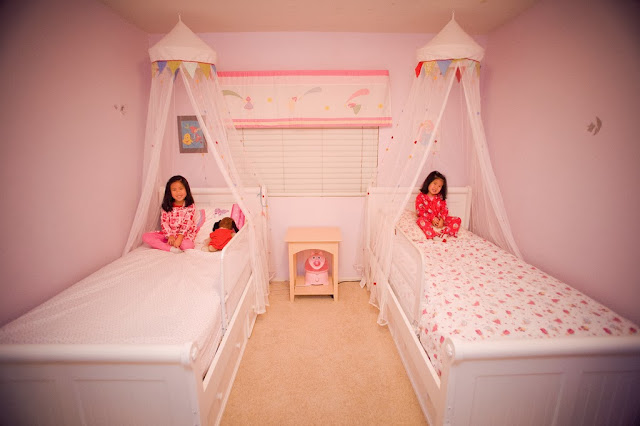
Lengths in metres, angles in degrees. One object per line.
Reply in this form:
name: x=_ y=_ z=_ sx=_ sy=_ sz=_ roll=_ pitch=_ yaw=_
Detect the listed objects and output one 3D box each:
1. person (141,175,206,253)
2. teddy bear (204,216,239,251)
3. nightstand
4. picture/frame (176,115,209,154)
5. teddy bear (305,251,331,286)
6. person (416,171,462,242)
person: x=-1.470 y=0.015 z=4.836 sx=0.723 sy=1.060 sz=0.752 roll=1 pitch=6 yaw=-7
teddy bear: x=-1.033 y=0.236 z=4.560 sx=0.358 sy=0.187 sz=0.532 roll=-2 pitch=33 yaw=22
nightstand: x=-0.095 y=0.608 z=5.113 sx=0.659 sy=0.857 sz=0.587 roll=2 pitch=5 yaw=-3
picture/frame: x=-1.518 y=-0.932 z=4.975 sx=0.346 sy=0.434 sz=0.245 roll=1 pitch=6 yaw=-17
teddy bear: x=-0.027 y=0.690 z=5.216 sx=0.352 sy=0.423 sz=0.382 roll=-1 pitch=1 yaw=16
person: x=1.367 y=-0.096 z=4.795 sx=0.481 sy=0.735 sz=0.593 roll=0 pitch=15 yaw=-3
